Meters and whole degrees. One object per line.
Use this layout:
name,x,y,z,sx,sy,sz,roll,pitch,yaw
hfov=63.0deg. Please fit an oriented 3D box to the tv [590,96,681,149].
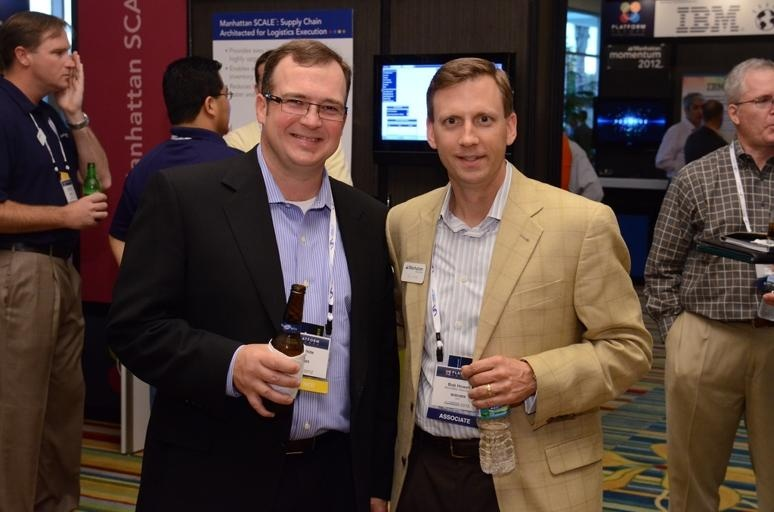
tv,3.867,-2.045,9.663,0.930,0.676,0.243,1,0,10

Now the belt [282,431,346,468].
belt,-0.265,0.727,2.419,0.168,0.046,0.119,-4,-2,-41

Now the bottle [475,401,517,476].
bottle,0.411,0.693,2.345,0.144,0.295,0.084,-2,12,-8

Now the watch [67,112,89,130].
watch,-2.102,-0.934,4.285,0.110,0.047,0.112,-2,44,5
